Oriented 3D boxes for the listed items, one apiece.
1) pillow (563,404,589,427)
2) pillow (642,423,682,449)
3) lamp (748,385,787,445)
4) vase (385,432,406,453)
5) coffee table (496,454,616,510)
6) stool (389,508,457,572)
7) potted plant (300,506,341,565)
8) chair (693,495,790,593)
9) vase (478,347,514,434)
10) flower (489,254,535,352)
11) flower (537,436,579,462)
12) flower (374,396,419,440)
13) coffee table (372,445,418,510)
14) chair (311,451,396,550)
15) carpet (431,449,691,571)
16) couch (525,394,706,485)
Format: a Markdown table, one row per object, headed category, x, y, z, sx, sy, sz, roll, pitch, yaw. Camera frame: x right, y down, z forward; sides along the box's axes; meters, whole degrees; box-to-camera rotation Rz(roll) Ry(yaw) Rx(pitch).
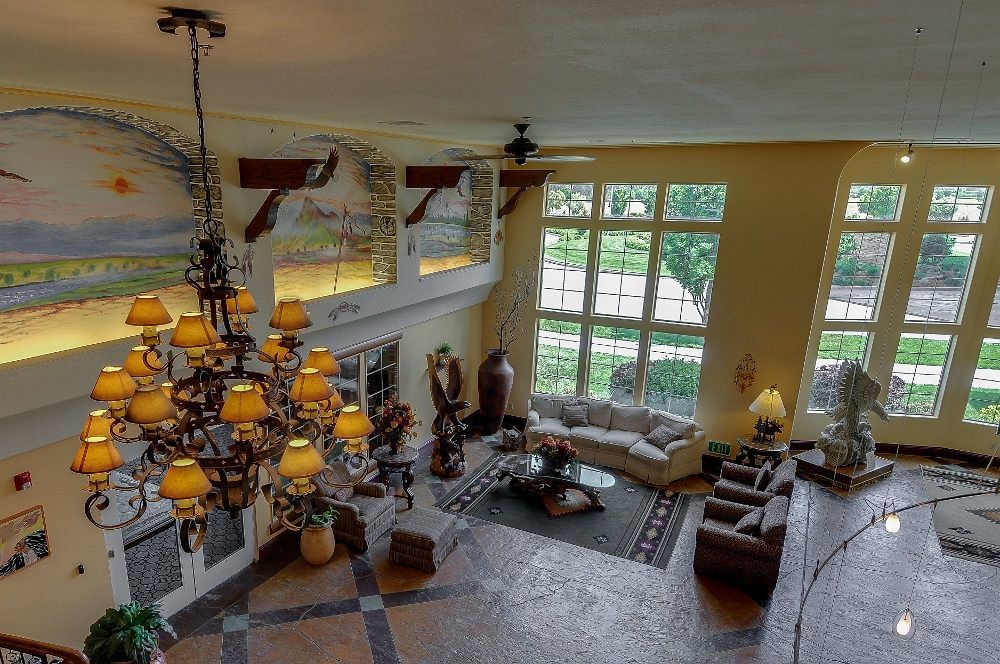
| category | x | y | z | sx | sy | sz | roll | pitch | yaw |
| --- | --- | --- | --- | --- | --- | --- | --- | --- | --- |
| pillow | 1.666 | 1.857 | 12.442 | 0.515 | 0.401 | 0.171 | 0 | -23 | 6 |
| pillow | 3.393 | 2.158 | 11.721 | 0.490 | 0.424 | 0.607 | -8 | 14 | -38 |
| lamp | 5.373 | 1.672 | 11.275 | 0.619 | 1.144 | 0.758 | 8 | 14 | 28 |
| vase | -1.948 | 2.019 | 10.327 | 0.414 | 0.337 | 0.275 | 4 | 22 | 0 |
| coffee table | 1.248 | 2.587 | 10.744 | 2.397 | 0.527 | 0.939 | 7 | 33 | 12 |
| stool | -1.264 | 3.322 | 9.079 | 0.812 | 0.721 | 0.735 | 5 | 12 | 20 |
| potted plant | -2.917 | 3.330 | 9.043 | 0.612 | 0.699 | 0.527 | -5 | -2 | 10 |
| chair | 3.791 | 3.163 | 9.276 | 1.609 | 1.271 | 1.411 | 5 | 12 | 23 |
| vase | -0.145 | 1.421 | 12.691 | 0.724 | 1.976 | 0.562 | 1 | 13 | -3 |
| flower | 0.317 | -0.678 | 13.239 | 0.795 | 2.205 | 0.579 | 3 | 10 | 21 |
| flower | 1.078 | 2.212 | 10.824 | 0.601 | 0.249 | 0.564 | 4 | 6 | 25 |
| flower | -2.005 | 1.590 | 10.344 | 0.670 | 0.588 | 0.427 | 4 | 12 | 16 |
| coffee table | -1.940 | 2.639 | 10.656 | 1.211 | 1.014 | 1.084 | -1 | 0 | -3 |
| chair | -2.550 | 2.856 | 9.602 | 1.286 | 0.961 | 1.007 | 13 | 16 | 23 |
| carpet | 1.316 | 3.199 | 10.592 | 4.026 | 0.540 | 2.323 | 5 | 11 | 22 |
| couch | 2.567 | 2.100 | 12.291 | 4.210 | 1.211 | 1.683 | 6 | 15 | 24 |
